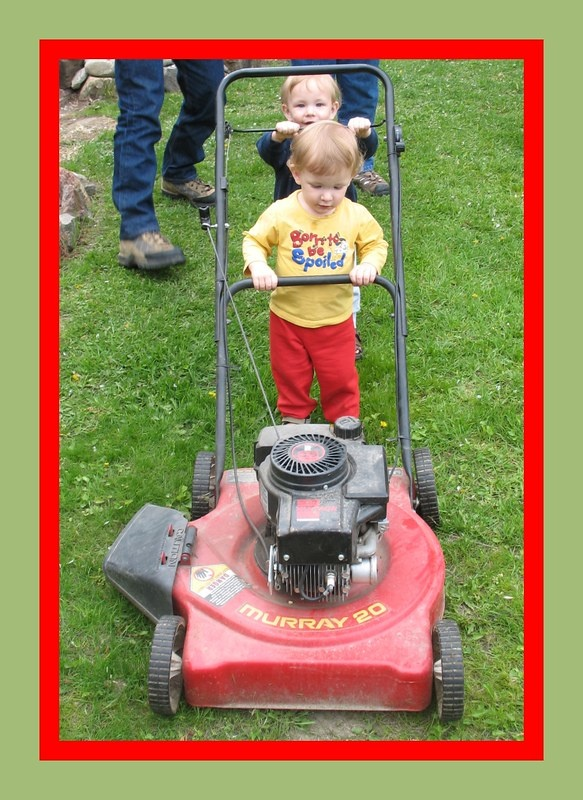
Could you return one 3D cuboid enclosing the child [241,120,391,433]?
[{"bbox_3d":[0.096,-0.393,3.261,0.574,1.386,0.494,-3,33,-4],"label":"child"}]

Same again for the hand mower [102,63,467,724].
[{"bbox_3d":[-0.033,-0.171,2.869,1.110,1.425,2.042,1,33,1],"label":"hand mower"}]

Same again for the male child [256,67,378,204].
[{"bbox_3d":[0.109,-1.212,3.452,0.443,0.655,0.448,-1,30,2],"label":"male child"}]
